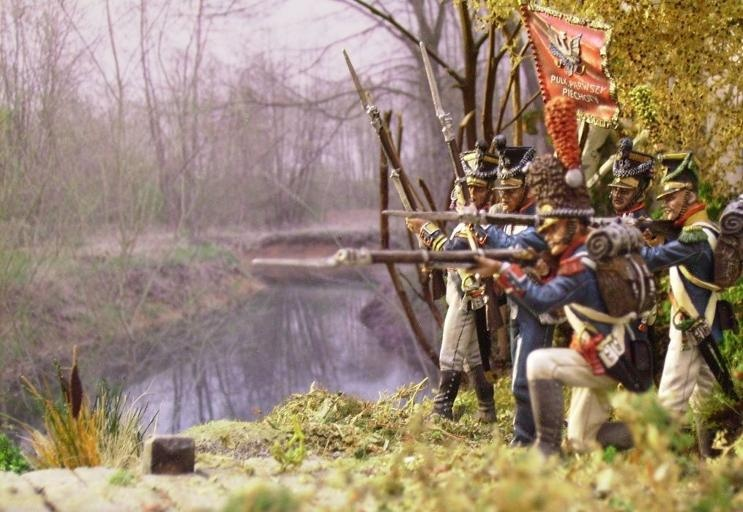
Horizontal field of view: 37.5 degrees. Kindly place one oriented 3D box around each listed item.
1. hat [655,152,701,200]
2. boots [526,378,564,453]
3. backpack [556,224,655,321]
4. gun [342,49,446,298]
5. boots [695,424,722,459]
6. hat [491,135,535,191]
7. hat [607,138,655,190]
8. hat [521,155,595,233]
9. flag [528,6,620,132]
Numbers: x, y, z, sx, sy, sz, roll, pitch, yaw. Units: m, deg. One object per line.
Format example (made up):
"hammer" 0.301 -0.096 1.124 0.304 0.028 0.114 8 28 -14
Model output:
"hat" 3.290 -0.834 11.720 0.454 0.490 0.437 2 -2 -3
"boots" 1.692 1.661 10.962 0.256 0.888 0.291 -9 0 15
"backpack" 2.421 0.138 10.699 0.708 0.925 0.285 -6 5 -27
"gun" 0.246 -1.043 13.633 0.532 3.634 0.311 -32 17 -20
"boots" 3.544 1.975 11.594 0.199 0.323 0.314 -6 -23 1
"hat" 1.512 -1.000 11.902 0.491 0.577 0.491 -8 1 42
"hat" 2.821 -0.966 11.855 0.407 0.551 0.529 6 9 35
"hat" 1.951 -0.672 10.918 0.538 0.817 0.647 -3 -7 40
"flag" 2.215 -2.051 11.772 1.308 1.308 0.224 17 24 27
